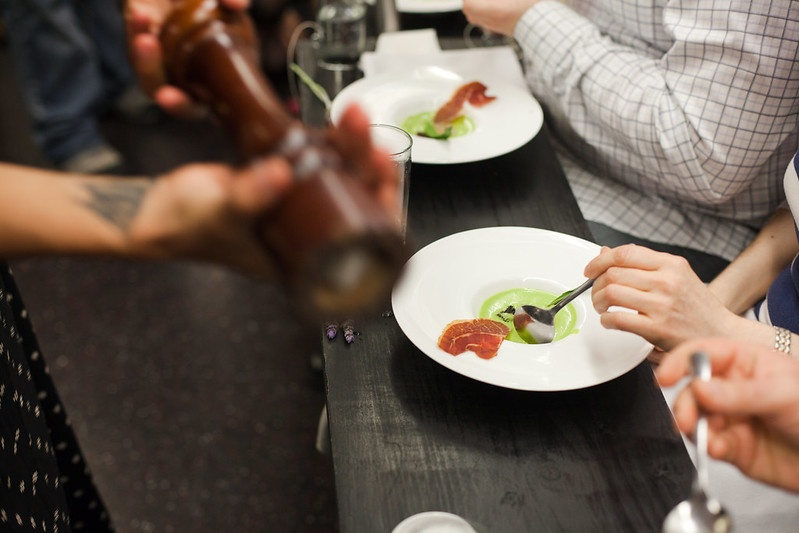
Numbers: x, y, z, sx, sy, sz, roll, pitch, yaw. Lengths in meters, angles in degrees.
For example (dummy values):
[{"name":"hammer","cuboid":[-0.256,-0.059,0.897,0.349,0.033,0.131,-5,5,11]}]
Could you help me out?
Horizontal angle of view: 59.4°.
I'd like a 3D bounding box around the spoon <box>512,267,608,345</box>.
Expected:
[{"name":"spoon","cuboid":[0.226,0.062,1.010,0.125,0.083,0.053,-31,98,-21]}]
